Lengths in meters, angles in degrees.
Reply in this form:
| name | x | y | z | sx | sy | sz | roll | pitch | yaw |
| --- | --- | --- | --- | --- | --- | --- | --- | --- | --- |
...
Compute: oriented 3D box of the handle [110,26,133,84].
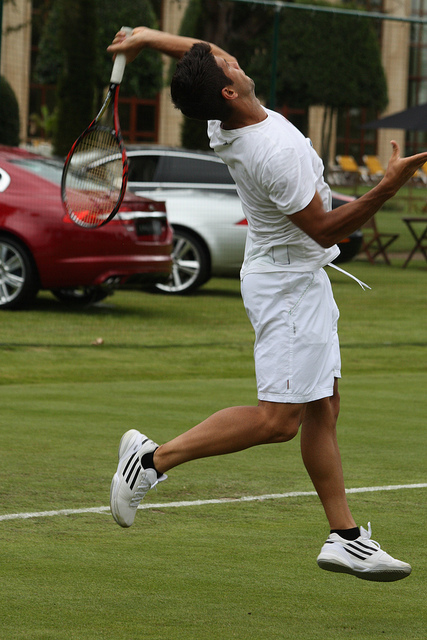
| name | x | y | z | sx | sy | sz | roll | pitch | yaw |
| --- | --- | --- | --- | --- | --- | --- | --- | --- | --- |
| handle | -0.354 | -1.006 | 3.390 | 0.067 | 0.241 | 0.064 | 13 | 18 | 3 |
